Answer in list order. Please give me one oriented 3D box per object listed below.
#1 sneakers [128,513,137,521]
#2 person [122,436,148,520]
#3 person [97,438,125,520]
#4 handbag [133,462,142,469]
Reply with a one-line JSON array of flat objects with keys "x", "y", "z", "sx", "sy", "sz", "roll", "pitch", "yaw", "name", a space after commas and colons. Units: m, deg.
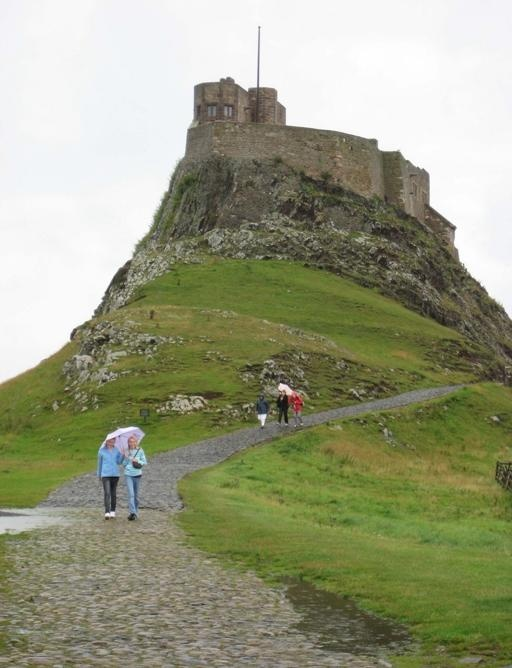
[{"x": -3.006, "y": 4.509, "z": 19.527, "sx": 0.111, "sy": 0.143, "sz": 0.230, "roll": 3, "pitch": -3, "yaw": -3, "name": "sneakers"}, {"x": -3.078, "y": 3.631, "z": 20.085, "sx": 0.540, "sy": 2.022, "sz": 1.373, "roll": 4, "pitch": -4, "yaw": -8, "name": "person"}, {"x": -3.689, "y": 3.618, "z": 20.187, "sx": 0.624, "sy": 2.038, "sz": 1.526, "roll": 4, "pitch": -4, "yaw": -10, "name": "person"}, {"x": -2.937, "y": 3.295, "z": 19.913, "sx": 0.252, "sy": 0.188, "sz": 0.145, "roll": 4, "pitch": -4, "yaw": -27, "name": "handbag"}]
